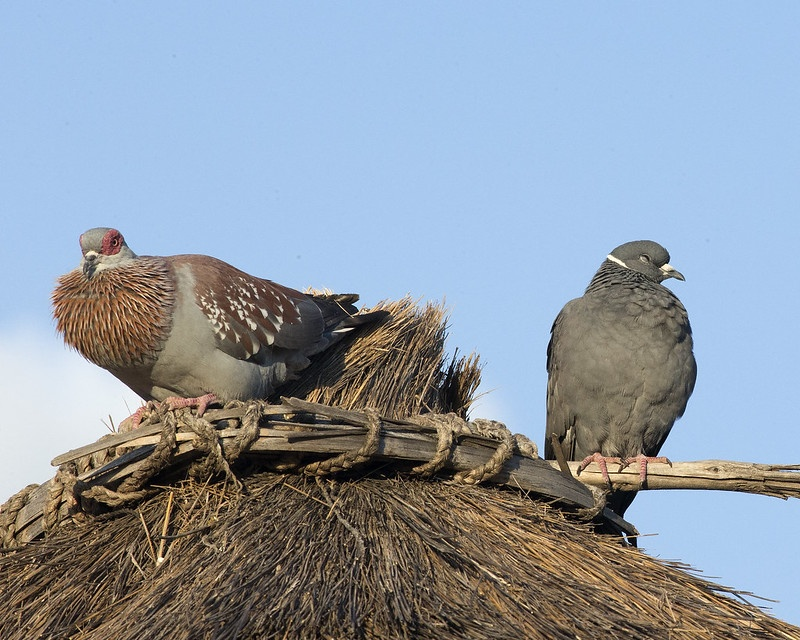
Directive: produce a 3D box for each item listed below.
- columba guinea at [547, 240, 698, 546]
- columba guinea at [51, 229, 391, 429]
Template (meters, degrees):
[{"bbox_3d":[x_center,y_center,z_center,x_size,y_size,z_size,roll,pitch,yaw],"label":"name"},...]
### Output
[{"bbox_3d":[1.345,0.199,10.349,0.794,1.565,0.910,4,1,-9],"label":"columba guinea"},{"bbox_3d":[-0.991,-0.039,9.652,0.966,1.096,2.022,-7,3,43],"label":"columba guinea"}]
